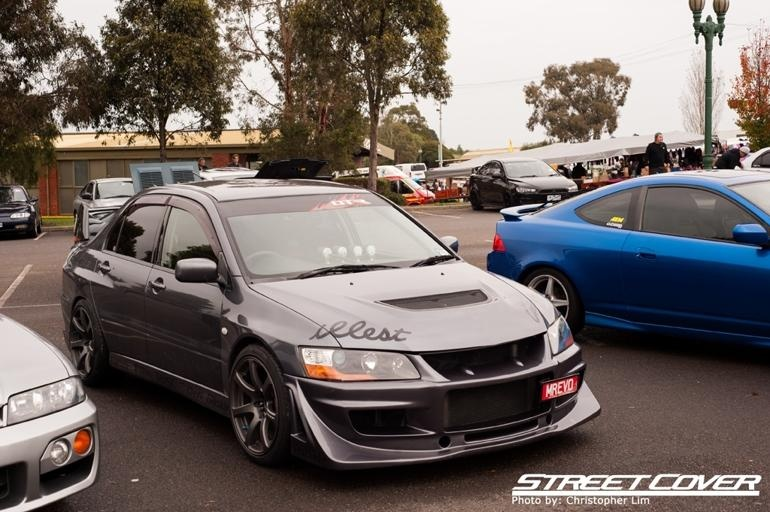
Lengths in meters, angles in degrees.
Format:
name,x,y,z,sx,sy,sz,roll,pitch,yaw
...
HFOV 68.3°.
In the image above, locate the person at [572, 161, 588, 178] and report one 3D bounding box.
name,x,y,z,sx,sy,sz,roll,pitch,yaw
person,11.956,-5.329,34.996,0.963,0.359,1.343,6,22,20
